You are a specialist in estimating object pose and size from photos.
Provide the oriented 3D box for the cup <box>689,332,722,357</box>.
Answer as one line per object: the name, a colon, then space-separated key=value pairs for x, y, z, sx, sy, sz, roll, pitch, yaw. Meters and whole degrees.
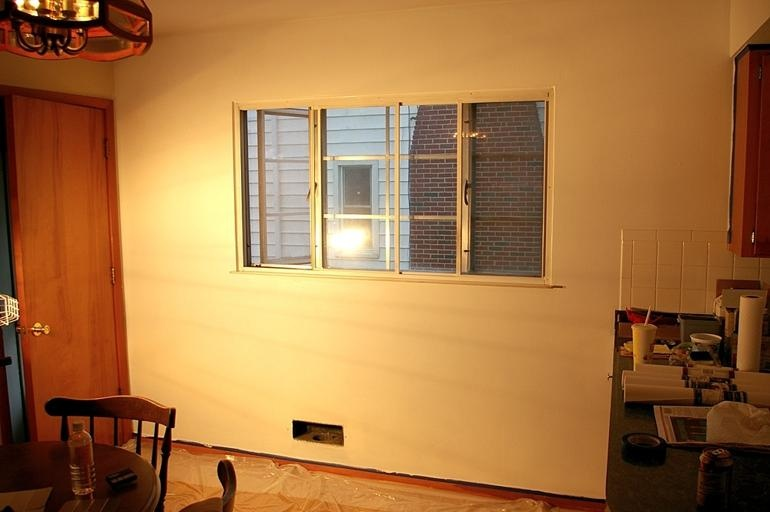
cup: x=1.823 y=0.500 z=3.684 sx=0.122 sy=0.101 sz=0.131 roll=0 pitch=-6 yaw=0

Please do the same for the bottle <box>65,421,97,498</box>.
bottle: x=-1.533 y=1.025 z=3.306 sx=0.114 sy=0.314 sz=0.295 roll=-2 pitch=2 yaw=-25

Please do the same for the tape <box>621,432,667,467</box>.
tape: x=1.195 y=0.892 z=2.990 sx=0.198 sy=0.088 sz=0.195 roll=-5 pitch=4 yaw=-44

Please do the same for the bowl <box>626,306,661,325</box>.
bowl: x=1.646 y=0.390 z=4.171 sx=0.179 sy=0.085 sz=0.204 roll=1 pitch=-6 yaw=-16

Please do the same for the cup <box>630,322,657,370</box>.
cup: x=1.443 y=0.523 z=3.681 sx=0.173 sy=0.253 sz=0.175 roll=1 pitch=2 yaw=0
